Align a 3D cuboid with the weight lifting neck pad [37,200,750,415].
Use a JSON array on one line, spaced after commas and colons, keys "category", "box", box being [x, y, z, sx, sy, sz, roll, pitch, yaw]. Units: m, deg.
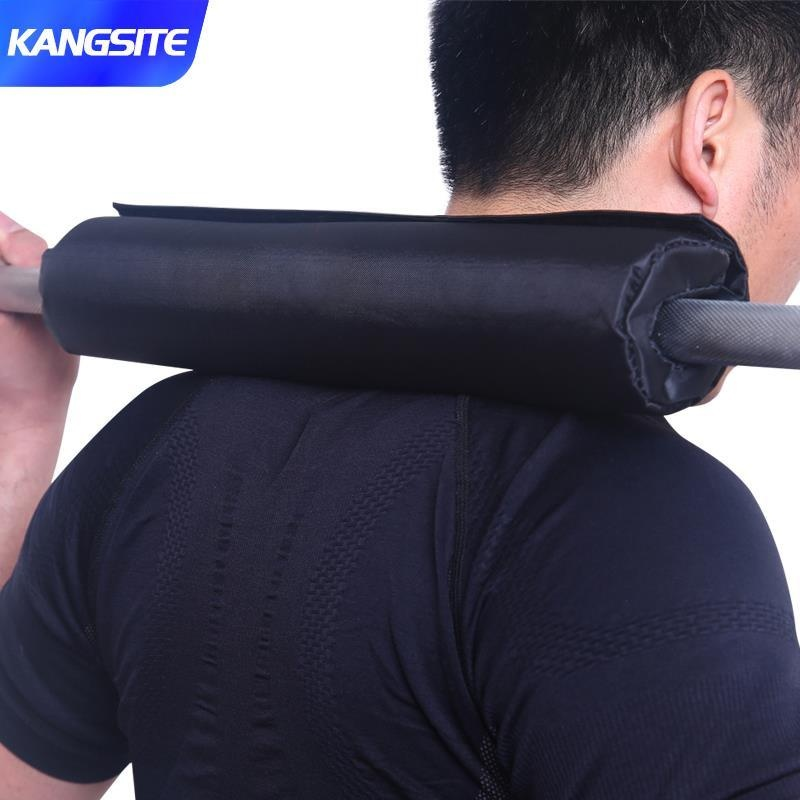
[{"category": "weight lifting neck pad", "box": [-0.016, -0.074, 0.772, 0.631, 0.145, 0.191, 6, 15, 26]}]
